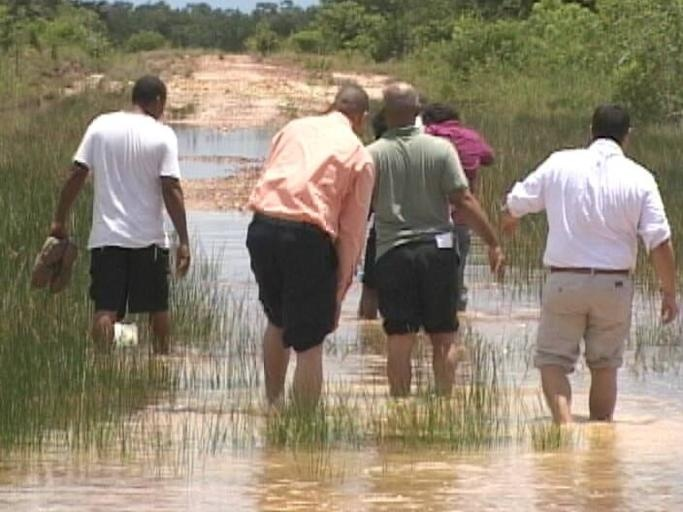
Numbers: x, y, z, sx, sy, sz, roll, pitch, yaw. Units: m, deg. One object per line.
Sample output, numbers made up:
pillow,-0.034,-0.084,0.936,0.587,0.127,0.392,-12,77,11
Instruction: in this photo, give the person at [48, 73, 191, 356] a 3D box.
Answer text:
person,-2.321,-0.447,17.003,1.302,3.057,0.403,-2,4,-14

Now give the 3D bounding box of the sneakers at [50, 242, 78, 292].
sneakers,-3.070,0.109,17.345,0.211,0.686,0.255,16,6,-21

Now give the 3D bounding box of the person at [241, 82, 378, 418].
person,-0.332,0.053,15.947,1.239,2.964,0.487,-1,4,-5
